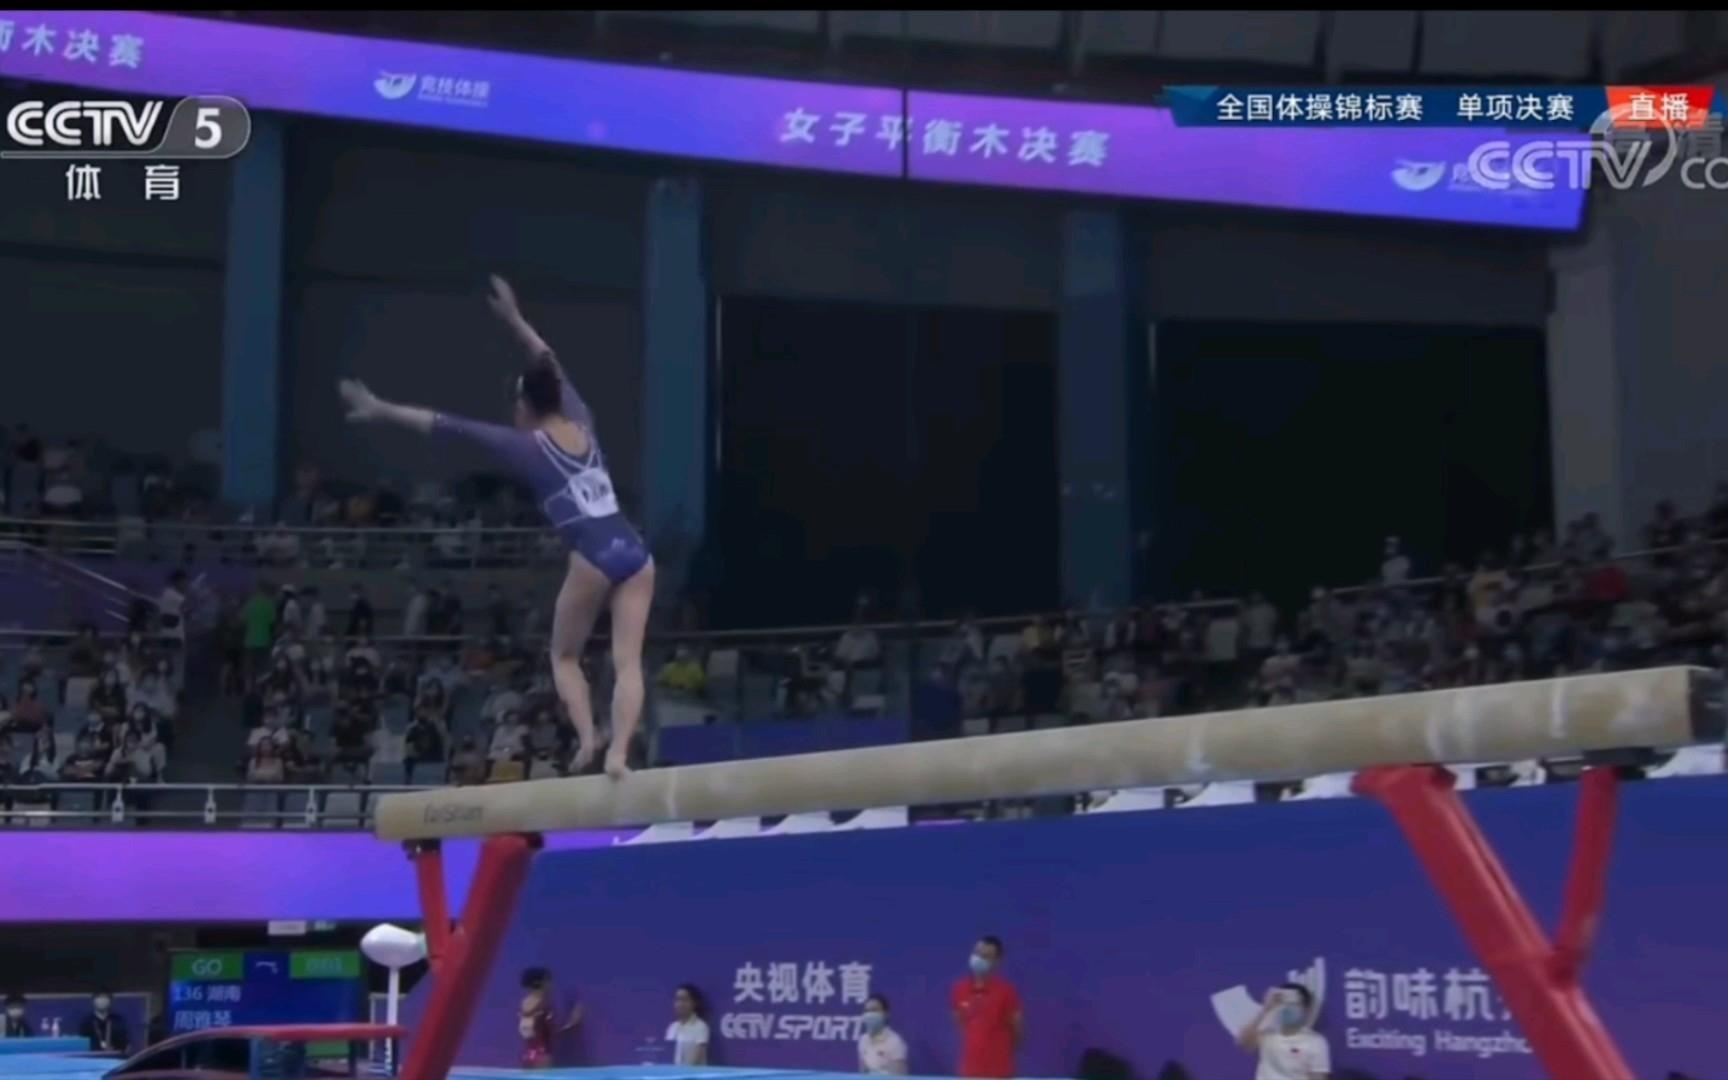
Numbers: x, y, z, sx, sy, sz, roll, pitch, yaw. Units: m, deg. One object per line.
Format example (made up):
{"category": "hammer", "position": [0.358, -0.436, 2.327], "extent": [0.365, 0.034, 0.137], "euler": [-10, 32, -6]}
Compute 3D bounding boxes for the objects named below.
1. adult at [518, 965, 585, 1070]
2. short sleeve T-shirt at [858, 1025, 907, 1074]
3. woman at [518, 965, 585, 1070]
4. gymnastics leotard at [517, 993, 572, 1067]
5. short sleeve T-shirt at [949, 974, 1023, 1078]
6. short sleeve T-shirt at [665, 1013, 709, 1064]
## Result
{"category": "adult", "position": [-2.303, 3.647, 24.821], "extent": [0.620, 0.713, 0.380], "euler": [-15, -23, 29]}
{"category": "short sleeve T-shirt", "position": [0.118, 3.739, 23.900], "extent": [0.311, 0.254, 0.160], "euler": [-12, -31, 27]}
{"category": "woman", "position": [-2.303, 3.647, 24.821], "extent": [0.620, 0.713, 0.380], "euler": [-15, -23, 29]}
{"category": "gymnastics leotard", "position": [-2.352, 3.722, 24.814], "extent": [0.506, 0.527, 0.327], "euler": [-9, -18, 29]}
{"category": "short sleeve T-shirt", "position": [0.861, 3.551, 23.726], "extent": [0.719, 0.762, 0.432], "euler": [-1, -20, 10]}
{"category": "short sleeve T-shirt", "position": [-1.283, 3.737, 24.407], "extent": [0.351, 0.302, 0.185], "euler": [-3, -25, 11]}
